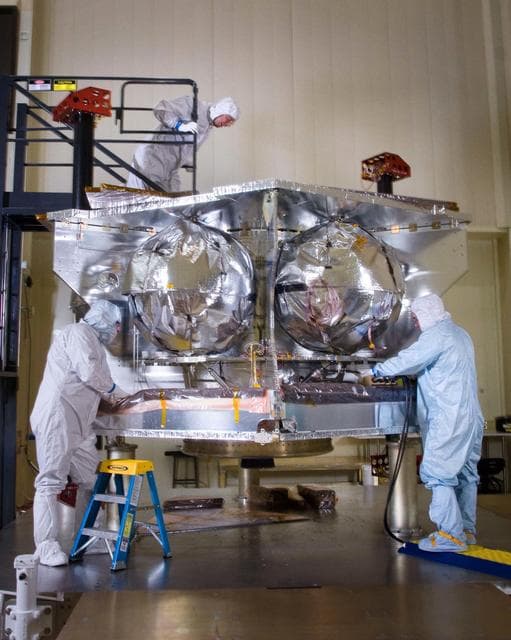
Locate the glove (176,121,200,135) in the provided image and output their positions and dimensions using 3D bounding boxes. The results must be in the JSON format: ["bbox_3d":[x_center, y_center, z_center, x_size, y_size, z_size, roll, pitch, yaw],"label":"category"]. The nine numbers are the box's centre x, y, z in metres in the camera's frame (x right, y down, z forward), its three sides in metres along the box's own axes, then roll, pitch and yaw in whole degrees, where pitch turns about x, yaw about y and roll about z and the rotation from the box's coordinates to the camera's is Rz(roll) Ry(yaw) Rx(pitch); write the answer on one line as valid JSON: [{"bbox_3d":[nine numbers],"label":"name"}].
[{"bbox_3d":[-0.543,-1.539,5.942,0.162,0.058,0.114,7,10,-18],"label":"glove"}]

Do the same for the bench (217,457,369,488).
[{"bbox_3d":[0.466,1.874,9.236,1.801,0.393,0.833,1,-1,-13],"label":"bench"}]

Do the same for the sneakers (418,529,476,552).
[{"bbox_3d":[1.128,1.303,4.393,0.314,0.105,0.173,1,-5,12],"label":"sneakers"}]

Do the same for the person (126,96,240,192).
[{"bbox_3d":[-0.678,-1.520,6.439,0.908,0.978,1.089,1,-1,11],"label":"person"}]

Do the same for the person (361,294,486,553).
[{"bbox_3d":[1.091,0.607,4.637,0.569,1.560,0.627,1,-1,18],"label":"person"}]

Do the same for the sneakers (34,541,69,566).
[{"bbox_3d":[-1.163,1.331,4.248,0.186,0.089,0.170,1,-1,-11],"label":"sneakers"}]

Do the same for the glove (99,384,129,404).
[{"bbox_3d":[-0.878,0.470,4.649,0.154,0.123,0.057,9,4,-35],"label":"glove"}]

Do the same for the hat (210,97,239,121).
[{"bbox_3d":[-0.280,-1.887,6.638,0.260,0.168,0.170,-6,9,-1],"label":"hat"}]

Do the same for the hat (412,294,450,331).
[{"bbox_3d":[1.069,-0.060,4.877,0.257,0.231,0.221,-25,-1,5],"label":"hat"}]

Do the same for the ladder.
[{"bbox_3d":[-0.754,1.112,4.495,0.714,0.711,0.573,1,-5,12],"label":"ladder"}]
